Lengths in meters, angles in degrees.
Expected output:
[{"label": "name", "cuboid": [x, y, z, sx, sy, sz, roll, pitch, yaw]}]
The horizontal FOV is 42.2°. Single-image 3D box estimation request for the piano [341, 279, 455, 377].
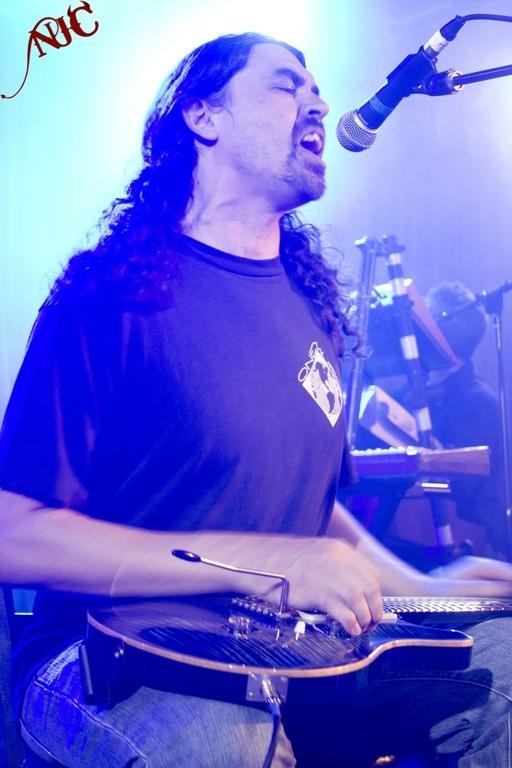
[{"label": "piano", "cuboid": [0.742, -0.203, 3.296, 0.448, 0.641, 0.189, 2, 43, 30]}]
